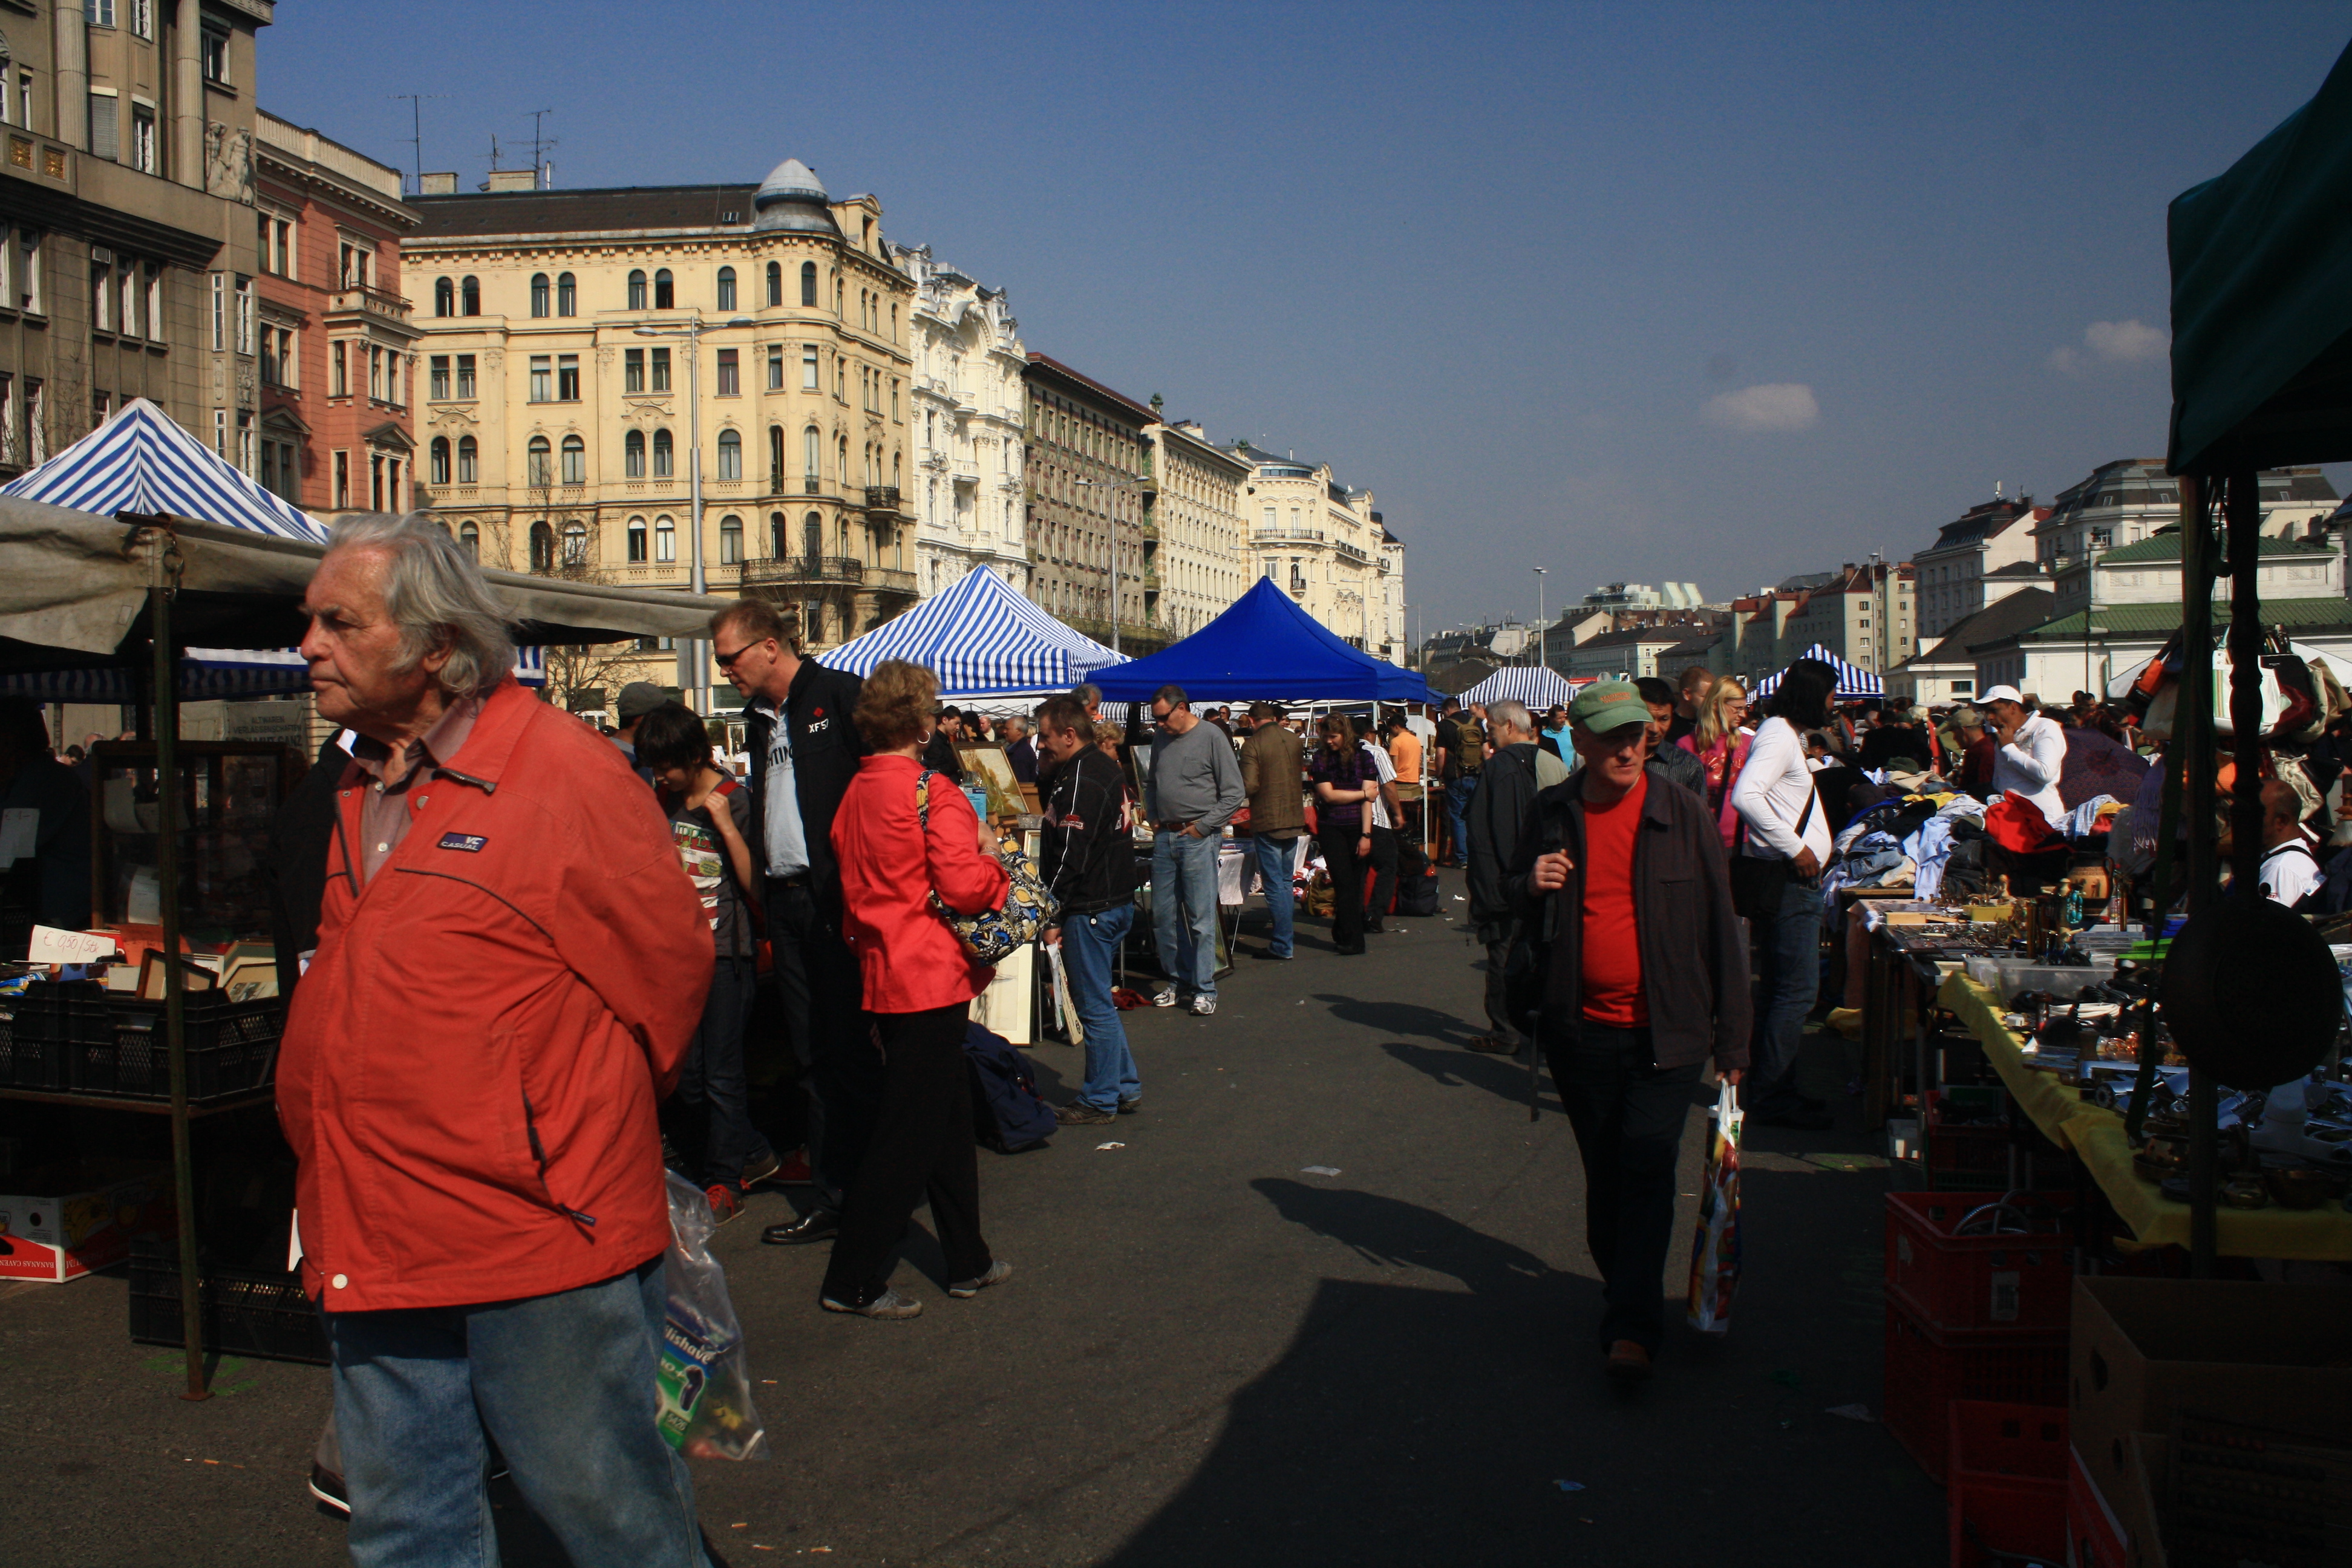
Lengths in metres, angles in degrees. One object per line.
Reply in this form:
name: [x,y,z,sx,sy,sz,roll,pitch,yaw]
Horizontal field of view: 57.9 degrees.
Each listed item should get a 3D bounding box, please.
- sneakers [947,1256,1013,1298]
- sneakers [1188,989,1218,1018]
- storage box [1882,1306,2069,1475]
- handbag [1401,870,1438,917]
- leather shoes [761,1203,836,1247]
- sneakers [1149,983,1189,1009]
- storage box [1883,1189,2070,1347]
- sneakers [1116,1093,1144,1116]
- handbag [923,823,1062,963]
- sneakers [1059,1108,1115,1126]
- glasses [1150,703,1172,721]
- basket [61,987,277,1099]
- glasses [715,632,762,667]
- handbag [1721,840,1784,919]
sneakers: [-0.813,2.016,8.698,0.093,0.112,0.266,7,20,26]
sneakers: [0.200,1.594,15.159,0.102,0.098,0.231,-12,-30,3]
storage box: [2.630,1.895,6.970,0.456,0.519,0.785,-1,1,3]
handbag: [2.580,1.172,22.413,0.488,0.367,0.681,-1,4,6]
leather shoes: [-1.684,1.957,9.377,0.378,0.156,0.126,1,1,-7]
sneakers: [-0.056,1.550,15.557,0.174,0.184,0.439,-1,3,-3]
storage box: [2.618,1.540,6.981,0.364,0.418,0.617,-1,1,-2]
sneakers: [-0.257,1.773,11.757,0.136,0.127,0.081,5,-10,-33]
handbag: [-0.703,0.492,8.546,0.182,0.423,0.425,-38,25,5]
sneakers: [-0.480,1.775,11.454,0.268,0.113,0.097,4,2,-2]
glasses: [-0.114,-0.525,15.245,0.109,0.135,0.115,-4,6,6]
basket: [-3.829,0.949,7.960,0.592,0.240,0.393,0,-1,27]
glasses: [-1.953,-0.582,9.335,0.212,0.114,0.144,-2,1,14]
handbag: [2.852,0.466,10.464,0.271,0.325,0.466,-2,8,-21]
